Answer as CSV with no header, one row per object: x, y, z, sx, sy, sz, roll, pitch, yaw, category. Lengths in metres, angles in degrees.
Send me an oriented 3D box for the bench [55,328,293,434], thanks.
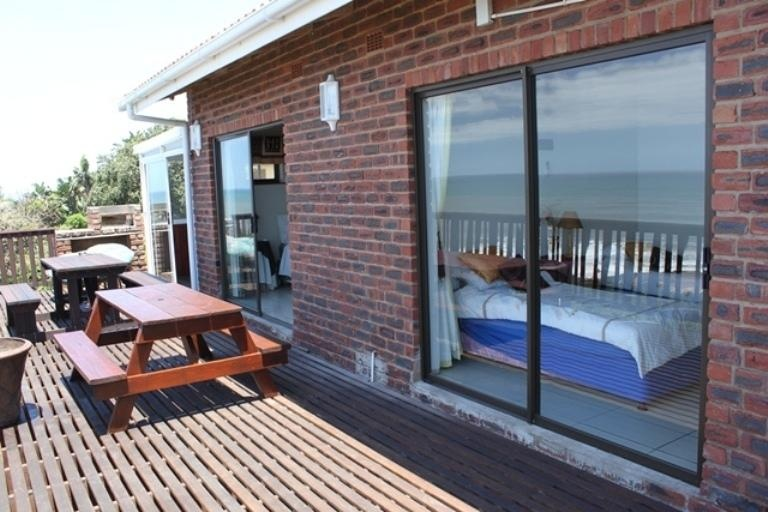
-2.142,0.966,4.390,1.162,0.286,1.159,-6,9,-40,bench

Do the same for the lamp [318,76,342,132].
-0.539,-1.565,4.903,0.289,0.548,0.134,7,16,34,lamp

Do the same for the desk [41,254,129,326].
-4.103,0.528,6.756,1.352,0.589,0.681,-3,16,16,desk
